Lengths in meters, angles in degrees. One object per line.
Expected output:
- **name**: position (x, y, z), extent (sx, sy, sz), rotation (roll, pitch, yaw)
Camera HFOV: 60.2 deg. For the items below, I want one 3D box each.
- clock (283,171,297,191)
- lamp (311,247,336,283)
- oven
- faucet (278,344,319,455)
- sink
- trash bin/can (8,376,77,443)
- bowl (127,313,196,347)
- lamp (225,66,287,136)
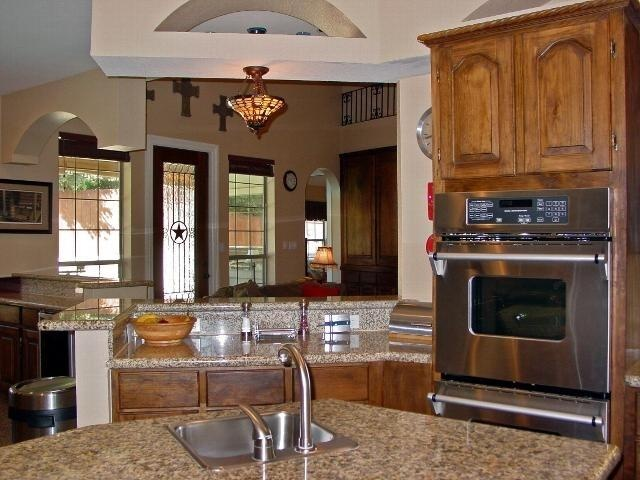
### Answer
- **clock**: position (-0.472, -0.892, 8.328), extent (0.043, 0.322, 0.329), rotation (1, 3, 34)
- **lamp**: position (0.047, 0.394, 8.486), extent (0.438, 0.532, 0.400), rotation (2, -1, -22)
- **oven**: position (1.058, 0.463, 2.908), extent (0.903, 1.362, 0.788), rotation (2, 0, 29)
- **faucet**: position (-0.077, 0.478, 1.708), extent (0.107, 0.321, 0.218), rotation (-1, 3, -5)
- **sink**: position (-0.225, 0.660, 1.837), extent (0.387, 0.136, 0.309), rotation (-1, 3, -26)
- **trash bin/can**: position (-1.500, 0.902, 2.950), extent (0.321, 0.329, 0.546), rotation (-2, 3, -26)
- **bowl**: position (-0.867, 0.498, 3.021), extent (0.343, 0.162, 0.180), rotation (-1, 3, -15)
- **lamp**: position (-0.609, -1.351, 5.310), extent (0.568, 0.542, 0.556), rotation (3, 10, 8)
